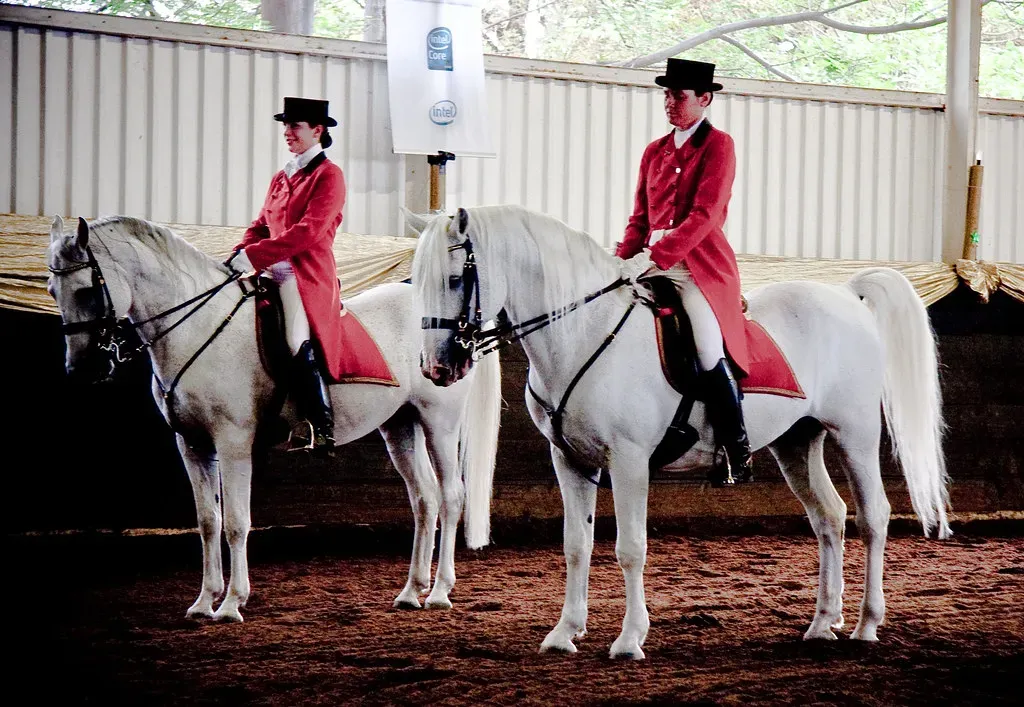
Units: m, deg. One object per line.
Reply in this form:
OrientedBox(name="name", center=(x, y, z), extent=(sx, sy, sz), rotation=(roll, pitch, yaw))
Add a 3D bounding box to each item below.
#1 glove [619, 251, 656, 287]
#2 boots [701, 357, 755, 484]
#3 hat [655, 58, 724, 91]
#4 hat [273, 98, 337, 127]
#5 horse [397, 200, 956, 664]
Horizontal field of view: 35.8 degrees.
OrientedBox(name="glove", center=(0.754, -0.507, 9.513), extent=(0.199, 0.209, 0.104), rotation=(2, 14, 3))
OrientedBox(name="boots", center=(1.301, 0.410, 9.534), extent=(0.301, 0.763, 0.212), rotation=(6, 15, 20))
OrientedBox(name="hat", center=(1.078, -1.671, 9.606), extent=(0.330, 0.089, 0.246), rotation=(4, 6, -11))
OrientedBox(name="hat", center=(-1.320, -1.539, 10.277), extent=(0.316, 0.092, 0.244), rotation=(0, 1, -30))
OrientedBox(name="horse", center=(1.108, 0.427, 9.678), extent=(3.403, 2.620, 1.016), rotation=(-3, 15, -16))
